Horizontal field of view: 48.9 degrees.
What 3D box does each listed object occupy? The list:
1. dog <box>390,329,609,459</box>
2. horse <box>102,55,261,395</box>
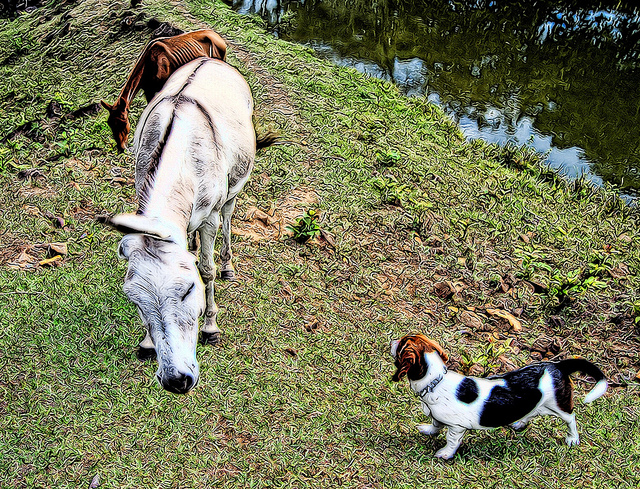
[{"bbox_3d":[1.680,1.355,6.679,2.068,1.164,0.592,-4,16,-1],"label":"dog"},{"bbox_3d":[-1.321,-0.098,6.897,1.015,2.248,3.569,5,58,-5],"label":"horse"}]
